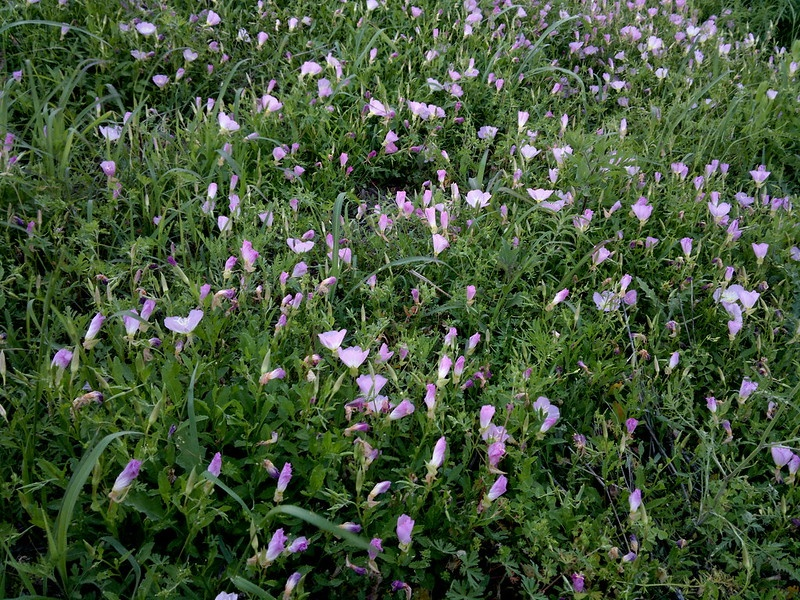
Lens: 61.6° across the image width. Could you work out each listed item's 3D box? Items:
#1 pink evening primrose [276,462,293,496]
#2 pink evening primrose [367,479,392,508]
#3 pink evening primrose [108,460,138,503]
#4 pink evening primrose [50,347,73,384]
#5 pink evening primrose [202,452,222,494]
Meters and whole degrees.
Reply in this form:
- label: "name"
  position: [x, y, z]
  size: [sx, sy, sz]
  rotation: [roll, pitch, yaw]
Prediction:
- label: "pink evening primrose"
  position: [-0.475, 0.736, 2.752]
  size: [0.040, 0.161, 0.052]
  rotation: [19, 10, -9]
- label: "pink evening primrose"
  position: [-0.085, 0.770, 2.706]
  size: [0.054, 0.151, 0.056]
  rotation: [16, 33, -21]
- label: "pink evening primrose"
  position: [-1.051, 0.694, 2.558]
  size: [0.116, 0.229, 0.064]
  rotation: [-17, 39, -41]
- label: "pink evening primrose"
  position: [-1.421, 0.254, 2.842]
  size: [0.086, 0.188, 0.059]
  rotation: [23, 10, 30]
- label: "pink evening primrose"
  position: [-0.735, 0.666, 2.619]
  size: [0.055, 0.191, 0.092]
  rotation: [2, 31, -17]
